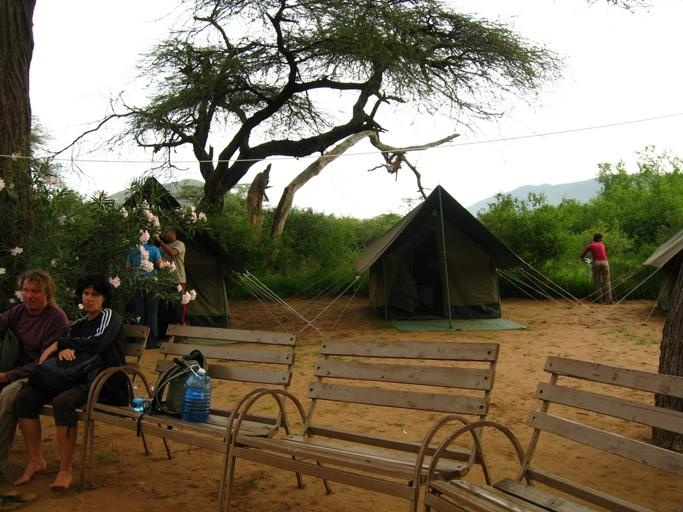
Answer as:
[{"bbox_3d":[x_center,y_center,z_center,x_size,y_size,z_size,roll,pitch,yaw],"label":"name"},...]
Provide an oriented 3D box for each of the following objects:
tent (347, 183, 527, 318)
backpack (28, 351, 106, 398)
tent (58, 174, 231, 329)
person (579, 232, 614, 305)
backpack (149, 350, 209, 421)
[{"bbox_3d":[2.119,0.161,12.686,3.288,2.289,4.024,-3,1,-6],"label":"tent"},{"bbox_3d":[-2.222,0.988,4.346,0.444,0.159,0.333,-26,37,-23],"label":"backpack"},{"bbox_3d":[-3.839,0.103,9.904,3.065,1.628,2.794,-1,3,-4],"label":"tent"},{"bbox_3d":[7.432,0.352,15.440,0.776,2.027,1.265,2,-5,27],"label":"person"},{"bbox_3d":[-1.339,0.998,4.232,0.578,0.467,0.492,-3,-5,-29],"label":"backpack"}]
